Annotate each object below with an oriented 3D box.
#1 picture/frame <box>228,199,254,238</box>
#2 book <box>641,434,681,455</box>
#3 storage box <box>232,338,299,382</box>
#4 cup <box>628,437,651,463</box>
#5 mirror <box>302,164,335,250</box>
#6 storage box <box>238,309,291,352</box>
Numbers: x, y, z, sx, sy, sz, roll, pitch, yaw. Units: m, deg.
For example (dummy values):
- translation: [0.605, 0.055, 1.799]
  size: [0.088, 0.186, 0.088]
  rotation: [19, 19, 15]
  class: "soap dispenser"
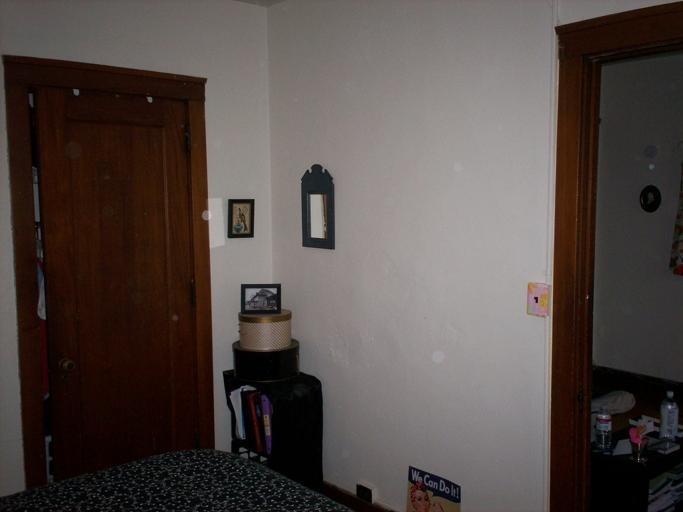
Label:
- translation: [-0.690, -0.265, 3.705]
  size: [0.213, 0.309, 0.030]
  rotation: [-7, 12, -36]
  class: "picture/frame"
- translation: [1.925, 1.138, 3.268]
  size: [0.181, 0.051, 0.199]
  rotation: [-4, 5, -38]
  class: "book"
- translation: [-0.460, 0.670, 3.450]
  size: [0.253, 0.134, 0.257]
  rotation: [-3, 6, -35]
  class: "storage box"
- translation: [1.700, 1.101, 3.108]
  size: [0.123, 0.152, 0.089]
  rotation: [2, -3, 6]
  class: "cup"
- translation: [-0.160, -0.325, 3.510]
  size: [0.021, 0.524, 0.283]
  rotation: [2, 4, 42]
  class: "mirror"
- translation: [-0.474, 0.446, 3.484]
  size: [0.236, 0.160, 0.239]
  rotation: [-3, 5, -37]
  class: "storage box"
